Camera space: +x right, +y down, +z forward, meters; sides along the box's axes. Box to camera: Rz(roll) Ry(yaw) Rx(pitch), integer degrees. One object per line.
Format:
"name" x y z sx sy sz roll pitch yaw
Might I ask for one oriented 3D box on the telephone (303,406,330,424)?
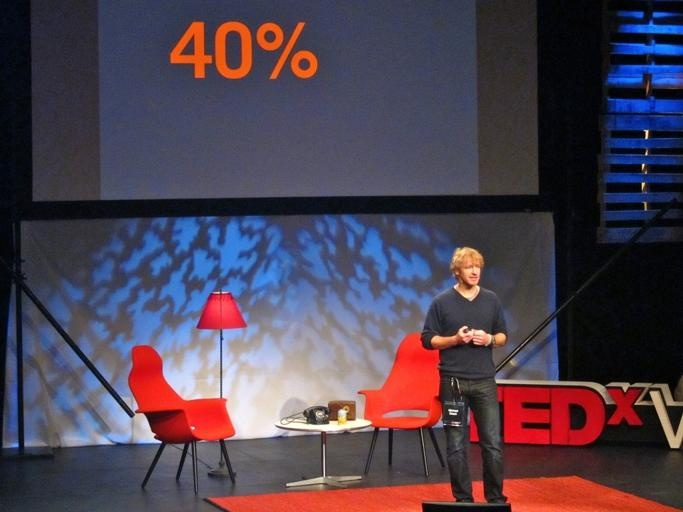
"telephone" -0.219 1.449 6.987 0.154 0.083 0.206 1 1 5

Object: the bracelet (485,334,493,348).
"bracelet" 1.120 0.638 5.829 0.048 0.078 0.080 5 -19 8

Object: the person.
"person" 0.941 0.894 5.864 0.628 1.914 0.451 -1 1 13
